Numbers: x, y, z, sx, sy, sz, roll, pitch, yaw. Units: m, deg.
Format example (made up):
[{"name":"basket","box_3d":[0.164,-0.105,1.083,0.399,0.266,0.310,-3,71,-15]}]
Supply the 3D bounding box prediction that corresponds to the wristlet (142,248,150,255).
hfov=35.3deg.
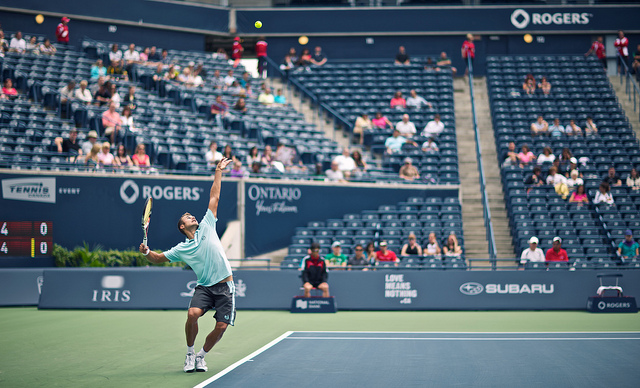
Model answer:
[{"name":"wristlet","box_3d":[-6.058,1.992,34.798,0.246,0.182,0.242,7,-8,-39]}]

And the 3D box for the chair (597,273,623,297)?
[{"name":"chair","box_3d":[12.135,3.847,42.203,0.971,0.914,0.974,-2,-5,9]}]

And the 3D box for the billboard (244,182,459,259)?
[{"name":"billboard","box_3d":[-0.508,1.121,46.928,6.095,3.345,0.680,-1,-6,-15]}]

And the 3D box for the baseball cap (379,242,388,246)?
[{"name":"baseball cap","box_3d":[2.722,2.152,43.491,0.257,0.182,0.384,-2,-6,-3]}]

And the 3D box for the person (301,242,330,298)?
[{"name":"person","box_3d":[-0.238,3.158,41.866,1.075,2.257,0.875,-1,-2,-1]}]

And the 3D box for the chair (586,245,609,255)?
[{"name":"chair","box_3d":[12.301,2.472,44.573,1.124,0.425,0.491,-1,-6,-14]}]
